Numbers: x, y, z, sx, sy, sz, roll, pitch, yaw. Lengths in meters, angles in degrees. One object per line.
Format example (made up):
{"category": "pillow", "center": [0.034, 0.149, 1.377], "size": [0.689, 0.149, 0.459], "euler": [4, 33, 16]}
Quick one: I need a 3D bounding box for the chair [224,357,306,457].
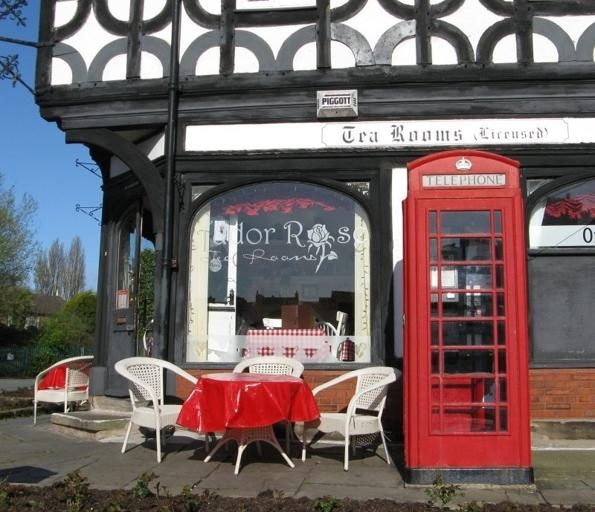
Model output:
{"category": "chair", "center": [-0.393, 1.804, 8.522], "size": [0.891, 1.251, 0.932], "euler": [3, 4, 4]}

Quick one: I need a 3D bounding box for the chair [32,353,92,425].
{"category": "chair", "center": [-3.738, 1.945, 9.935], "size": [0.722, 0.996, 0.765], "euler": [4, -7, 32]}

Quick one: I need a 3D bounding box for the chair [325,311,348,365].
{"category": "chair", "center": [0.535, 1.039, 8.635], "size": [0.458, 0.788, 0.454], "euler": [-1, -9, 6]}

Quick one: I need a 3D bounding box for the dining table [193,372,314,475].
{"category": "dining table", "center": [-0.522, 1.752, 7.014], "size": [1.353, 0.890, 1.531], "euler": [-3, -6, 31]}

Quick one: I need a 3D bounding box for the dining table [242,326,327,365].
{"category": "dining table", "center": [-0.056, 1.283, 9.332], "size": [1.194, 0.492, 1.339], "euler": [-2, -11, 15]}

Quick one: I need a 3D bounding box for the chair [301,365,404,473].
{"category": "chair", "center": [0.618, 1.755, 7.353], "size": [0.779, 1.094, 0.984], "euler": [13, -14, -41]}
